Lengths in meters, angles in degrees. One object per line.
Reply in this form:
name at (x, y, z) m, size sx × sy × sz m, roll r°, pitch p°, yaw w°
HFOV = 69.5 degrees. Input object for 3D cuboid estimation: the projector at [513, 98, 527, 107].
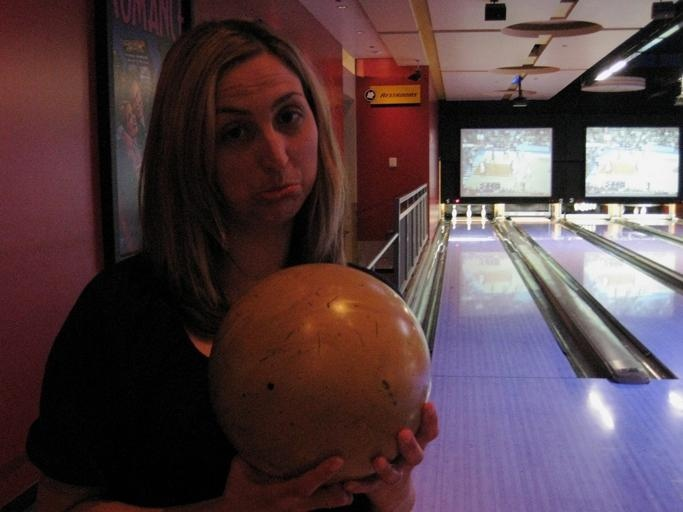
projector at (4.056, -3.549, 11.266) m, size 0.263 × 0.198 × 0.337 m, roll 1°, pitch 10°, yaw 22°
